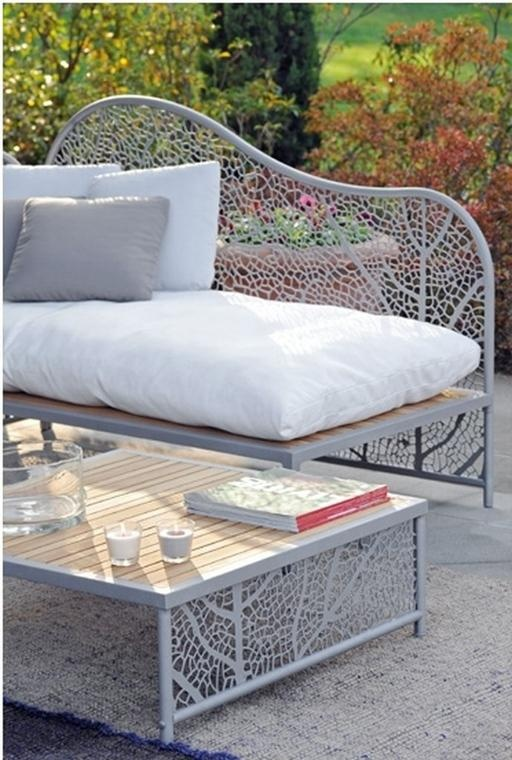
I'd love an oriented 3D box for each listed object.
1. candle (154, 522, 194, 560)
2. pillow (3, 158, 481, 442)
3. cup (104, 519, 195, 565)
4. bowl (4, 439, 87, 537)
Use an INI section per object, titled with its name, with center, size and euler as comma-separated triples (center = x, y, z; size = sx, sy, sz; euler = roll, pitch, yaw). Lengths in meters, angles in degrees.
[candle]
center = -0.113, 0.232, 1.083
size = 0.059, 0.043, 0.049
euler = -5, 17, -17
[pillow]
center = -0.248, -0.338, 2.340
size = 1.516, 0.835, 0.954
euler = 5, 8, 39
[cup]
center = -0.150, 0.229, 1.091
size = 0.080, 0.064, 0.099
euler = 1, 1, 37
[bowl]
center = -0.351, 0.186, 1.335
size = 0.169, 0.135, 0.189
euler = -11, 15, -42
